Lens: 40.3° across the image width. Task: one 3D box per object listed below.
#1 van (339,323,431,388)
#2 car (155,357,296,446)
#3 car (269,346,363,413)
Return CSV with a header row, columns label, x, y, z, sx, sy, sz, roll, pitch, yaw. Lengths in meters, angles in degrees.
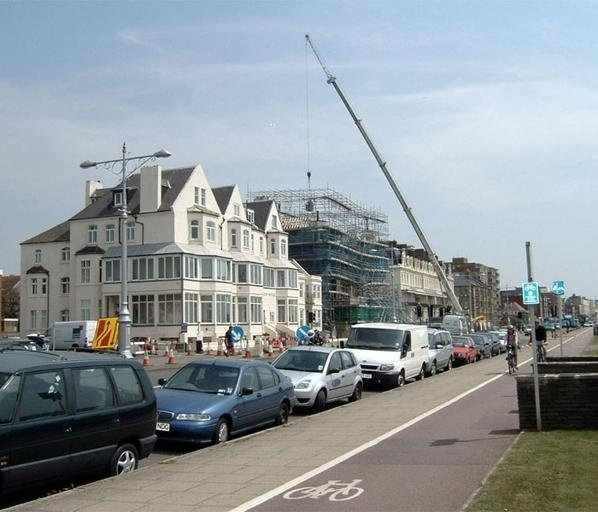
label,x,y,z,sx,sy,sz,roll,pitch,yaw
van,2.645,3.041,25.408,1.578,1.353,2.888,-4,-11,23
car,-1.582,2.645,15.316,1.371,0.943,2.347,-3,-9,27
car,0.407,2.858,19.785,1.306,0.950,2.033,-5,-12,28
